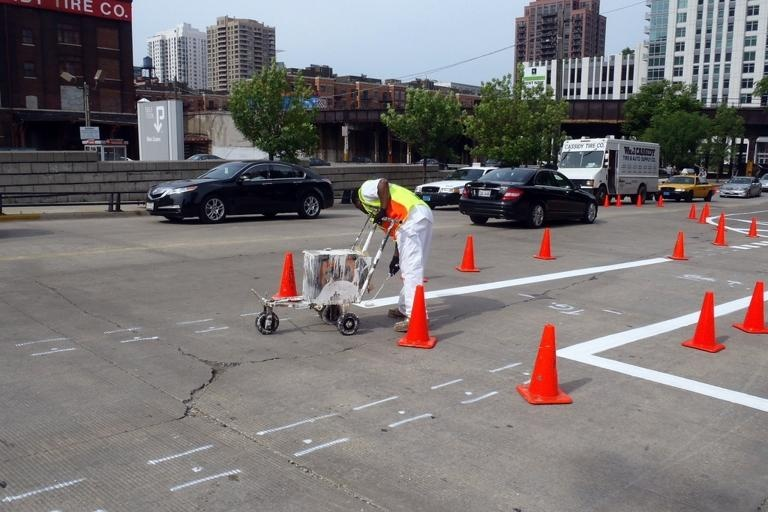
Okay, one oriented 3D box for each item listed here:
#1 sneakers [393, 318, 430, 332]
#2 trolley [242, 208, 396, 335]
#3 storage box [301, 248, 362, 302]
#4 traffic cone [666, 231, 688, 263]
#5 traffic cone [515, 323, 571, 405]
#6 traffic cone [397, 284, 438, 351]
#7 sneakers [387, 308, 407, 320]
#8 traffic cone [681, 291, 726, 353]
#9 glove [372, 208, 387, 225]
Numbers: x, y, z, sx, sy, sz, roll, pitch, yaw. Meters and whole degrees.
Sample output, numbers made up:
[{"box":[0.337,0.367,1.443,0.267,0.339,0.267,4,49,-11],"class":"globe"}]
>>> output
[{"box":[0.370,0.940,9.345,0.450,0.195,0.188,3,-1,-12],"class":"sneakers"},{"box":[-0.804,0.188,9.497,2.088,1.592,1.361,0,9,-19],"class":"trolley"},{"box":[-0.627,0.294,9.168,0.849,0.597,0.491,-2,4,-25],"class":"storage box"},{"box":[6.420,-0.233,15.258,0.388,0.614,1.171,2,11,23],"class":"traffic cone"},{"box":[1.703,1.151,7.434,0.567,0.836,0.394,0,11,11],"class":"traffic cone"},{"box":[0.406,0.772,8.836,0.504,0.757,0.419,-4,11,-6],"class":"traffic cone"},{"box":[0.174,0.832,9.876,0.307,0.144,0.111,13,8,13],"class":"sneakers"},{"box":[4.126,0.823,8.993,0.467,0.751,0.540,5,13,32],"class":"traffic cone"},{"box":[-0.052,-0.506,9.130,0.071,0.191,0.143,19,-7,-14],"class":"glove"}]
